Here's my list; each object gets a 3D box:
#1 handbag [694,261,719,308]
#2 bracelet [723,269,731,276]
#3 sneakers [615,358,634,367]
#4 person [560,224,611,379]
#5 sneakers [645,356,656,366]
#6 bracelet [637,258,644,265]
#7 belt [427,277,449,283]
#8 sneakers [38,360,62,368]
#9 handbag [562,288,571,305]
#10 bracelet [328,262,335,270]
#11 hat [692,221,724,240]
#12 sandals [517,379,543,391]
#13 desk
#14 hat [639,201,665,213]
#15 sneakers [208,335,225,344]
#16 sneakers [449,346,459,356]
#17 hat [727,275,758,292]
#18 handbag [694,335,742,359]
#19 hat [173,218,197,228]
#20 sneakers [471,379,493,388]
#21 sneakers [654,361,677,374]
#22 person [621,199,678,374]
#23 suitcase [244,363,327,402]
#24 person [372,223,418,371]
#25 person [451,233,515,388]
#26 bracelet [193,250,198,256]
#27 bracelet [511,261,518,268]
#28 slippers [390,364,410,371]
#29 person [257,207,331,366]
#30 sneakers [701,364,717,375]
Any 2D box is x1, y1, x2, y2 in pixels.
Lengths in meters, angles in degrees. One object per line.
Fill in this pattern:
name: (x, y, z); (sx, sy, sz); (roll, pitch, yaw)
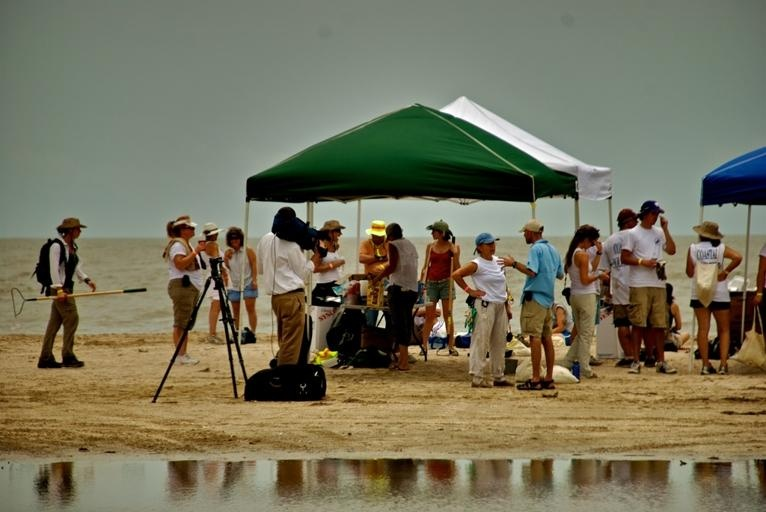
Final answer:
handbag: (5.384, 0.455, 20.479); (0.377, 0.748, 0.254); (3, 1, 14)
bracelet: (5.745, 0.255, 20.605); (0.134, 0.083, 0.106); (-4, 3, 24)
sneakers: (4.282, 1.834, 21.827); (0.266, 0.114, 0.123); (0, 2, -12)
person: (3.300, 0.735, 20.365); (0.647, 2.489, 0.827); (3, 1, 14)
sneakers: (4.751, 1.826, 21.851); (0.161, 0.169, 0.134); (-6, -10, 13)
bracelet: (4.317, 0.064, 20.618); (0.076, 0.113, 0.117); (3, 1, 11)
belt: (1.042, 0.419, 22.810); (0.431, 0.087, 0.064); (4, 1, 17)
sneakers: (-5.821, 1.849, 21.694); (0.284, 0.143, 0.182); (9, -4, -19)
handbag: (3.163, 0.654, 20.905); (0.098, 0.285, 0.203); (0, 11, -1)
bracelet: (-0.839, 0.131, 20.611); (0.104, 0.049, 0.122); (6, 11, -2)
hat: (5.430, -0.438, 20.533); (0.433, 0.308, 0.844); (3, 1, 14)
sandals: (2.368, 2.020, 19.796); (0.360, 0.157, 0.180); (1, 0, 11)
desk: (0.082, 1.343, 22.274); (1.118, 0.866, 1.275); (0, 0, 23)
hat: (4.538, -0.833, 20.572); (0.324, 0.196, 0.440); (3, 1, 0)
sneakers: (-3.317, 1.652, 25.132); (0.397, 0.181, 0.139); (-4, 8, 19)
sneakers: (1.369, 1.763, 23.517); (0.173, 0.122, 0.456); (-2, 2, 3)
hat: (7.465, 0.534, 25.523); (0.567, 0.306, 0.915); (-1, 0, 15)
handbag: (6.112, 1.654, 22.447); (0.662, 0.258, 0.536); (-14, 0, -6)
hat: (-3.350, -0.602, 21.025); (0.342, 0.161, 0.232); (3, 1, -12)
sneakers: (1.618, 1.999, 19.931); (0.278, 0.104, 0.150); (-1, 4, 6)
sneakers: (4.843, 1.867, 21.122); (0.153, 0.175, 0.376); (-2, 0, -39)
person: (4.518, 0.514, 20.837); (0.781, 2.896, 1.255); (3, 1, 30)
suitcase: (-1.481, 1.920, 18.982); (0.824, 0.365, 0.669); (1, -4, 4)
person: (0.281, 0.680, 21.029); (0.654, 2.375, 1.340); (3, 1, 2)
person: (1.618, 0.852, 19.624); (1.095, 2.362, 0.723); (3, 1, -19)
bracelet: (-3.065, -0.069, 20.369); (0.022, 0.071, 0.070); (-5, -6, 26)
bracelet: (2.063, 0.109, 19.292); (0.066, 0.109, 0.099); (9, 3, 14)
slippers: (0.297, 1.901, 21.432); (0.296, 0.083, 0.122); (5, 1, 22)
person: (-1.477, 0.453, 19.068); (0.874, 2.268, 0.558); (3, 1, -7)
sneakers: (5.565, 1.886, 21.018); (0.126, 0.145, 0.339); (1, 6, 25)
